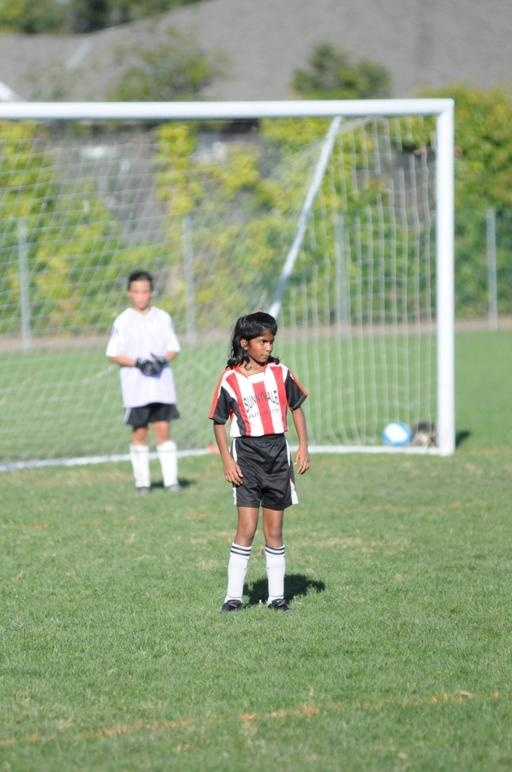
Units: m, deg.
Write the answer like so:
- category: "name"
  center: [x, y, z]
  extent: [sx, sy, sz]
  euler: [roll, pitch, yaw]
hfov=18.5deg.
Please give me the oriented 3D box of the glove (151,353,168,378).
- category: "glove"
  center: [-0.586, -0.120, 9.516]
  extent: [0.065, 0.140, 0.030]
  euler: [0, 5, -9]

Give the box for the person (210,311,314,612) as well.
- category: "person"
  center: [0.027, 0.349, 7.542]
  extent: [0.484, 1.417, 0.425]
  euler: [-5, 10, -26]

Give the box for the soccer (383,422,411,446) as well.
- category: "soccer"
  center: [0.967, 0.340, 10.870]
  extent: [0.217, 0.143, 0.250]
  euler: [2, 11, 11]

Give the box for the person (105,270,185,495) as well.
- category: "person"
  center: [-0.677, -0.018, 9.678]
  extent: [0.396, 1.415, 0.435]
  euler: [2, 9, 16]

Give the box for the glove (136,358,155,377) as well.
- category: "glove"
  center: [-0.668, -0.108, 9.472]
  extent: [0.104, 0.098, 0.045]
  euler: [-1, 9, -5]
